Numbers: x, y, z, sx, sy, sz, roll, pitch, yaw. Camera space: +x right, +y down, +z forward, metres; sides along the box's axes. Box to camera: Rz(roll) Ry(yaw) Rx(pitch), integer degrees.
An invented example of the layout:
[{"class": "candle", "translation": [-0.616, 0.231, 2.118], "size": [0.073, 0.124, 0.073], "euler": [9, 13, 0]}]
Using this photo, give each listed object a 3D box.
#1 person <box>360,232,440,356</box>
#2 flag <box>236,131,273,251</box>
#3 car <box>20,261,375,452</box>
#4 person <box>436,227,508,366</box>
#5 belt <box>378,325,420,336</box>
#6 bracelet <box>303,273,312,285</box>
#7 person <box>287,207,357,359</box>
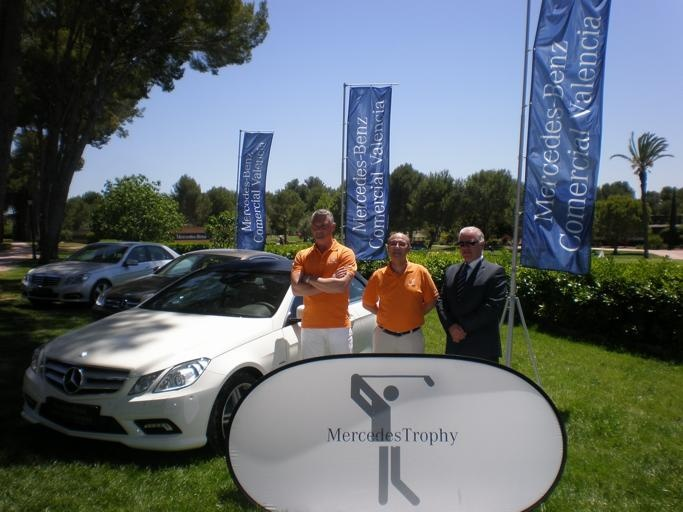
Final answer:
[{"class": "person", "translation": [0.699, 0.860, 5.761], "size": [0.784, 2.339, 0.495], "euler": [0, 14, 7]}, {"class": "flag", "translation": [-2.842, -2.053, 15.413], "size": [1.093, 3.763, 0.673], "euler": [0, 8, -8]}, {"class": "car", "translation": [-1.254, 1.025, 6.057], "size": [1.592, 1.358, 3.812], "euler": [0, -2, 34]}, {"class": "person", "translation": [1.512, 0.846, 5.636], "size": [0.656, 2.353, 0.626], "euler": [2, 8, 37]}, {"class": "belt", "translation": [0.657, 0.861, 5.547], "size": [0.487, 0.105, 0.139], "euler": [3, 9, 5]}, {"class": "bracelet", "translation": [-0.375, 0.246, 5.245], "size": [0.019, 0.085, 0.081], "euler": [4, -41, -47]}, {"class": "person", "translation": [-0.190, 0.640, 5.471], "size": [0.617, 2.366, 0.589], "euler": [-1, 9, -3]}]
